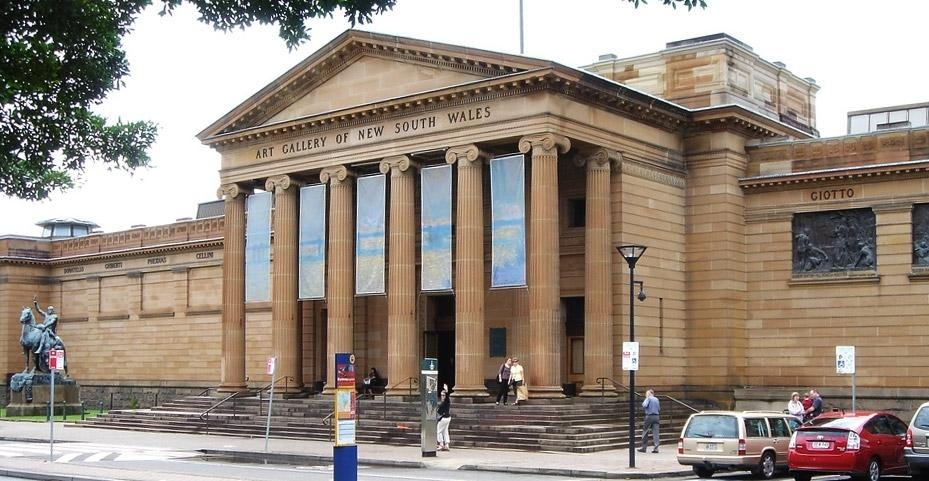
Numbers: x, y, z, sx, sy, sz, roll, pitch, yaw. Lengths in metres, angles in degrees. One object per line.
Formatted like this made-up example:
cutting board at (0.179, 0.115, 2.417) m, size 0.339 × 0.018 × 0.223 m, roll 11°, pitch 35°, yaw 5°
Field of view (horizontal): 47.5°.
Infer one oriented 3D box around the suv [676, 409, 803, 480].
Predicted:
suv at (12.784, 9.585, 49.306) m, size 5.200 × 3.045 × 1.652 m, roll 3°, pitch -16°, yaw -18°

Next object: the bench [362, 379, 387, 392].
bench at (-5.806, 9.197, 67.711) m, size 1.593 × 1.028 × 1.365 m, roll 0°, pitch -16°, yaw 3°

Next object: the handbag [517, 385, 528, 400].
handbag at (3.234, 8.521, 58.903) m, size 0.575 × 0.808 × 0.332 m, roll -1°, pitch -15°, yaw -2°

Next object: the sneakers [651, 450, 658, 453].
sneakers at (9.949, 11.038, 55.121) m, size 0.333 × 0.235 × 0.643 m, roll -3°, pitch -14°, yaw 9°

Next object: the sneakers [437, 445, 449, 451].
sneakers at (-1.113, 10.873, 55.086) m, size 0.658 × 0.189 × 0.221 m, roll -2°, pitch -4°, yaw 28°
